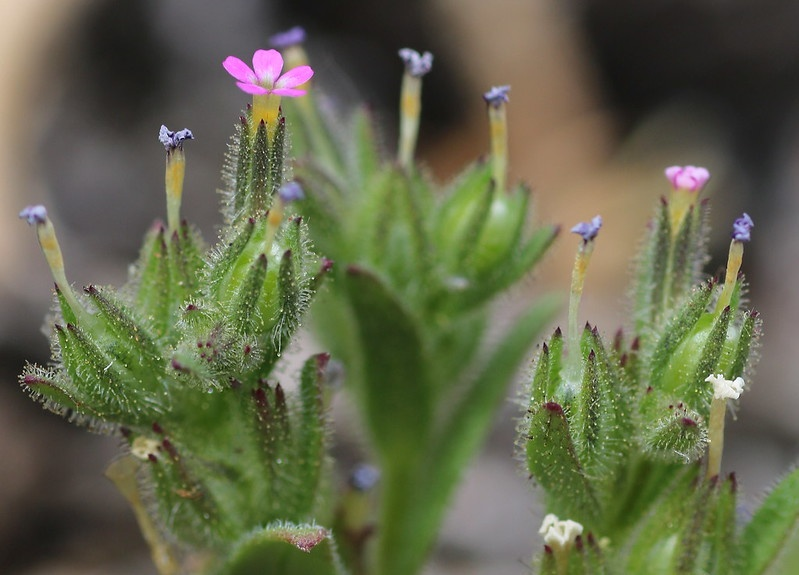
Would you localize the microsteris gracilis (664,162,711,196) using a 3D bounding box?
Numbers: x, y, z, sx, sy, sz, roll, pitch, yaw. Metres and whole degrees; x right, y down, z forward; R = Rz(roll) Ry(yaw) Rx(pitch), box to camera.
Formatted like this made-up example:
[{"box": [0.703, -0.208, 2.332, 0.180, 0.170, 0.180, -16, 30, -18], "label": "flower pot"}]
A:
[{"box": [0.621, -0.239, 2.434, 0.083, 0.054, 0.112, 11, 18, 18], "label": "microsteris gracilis"}]
